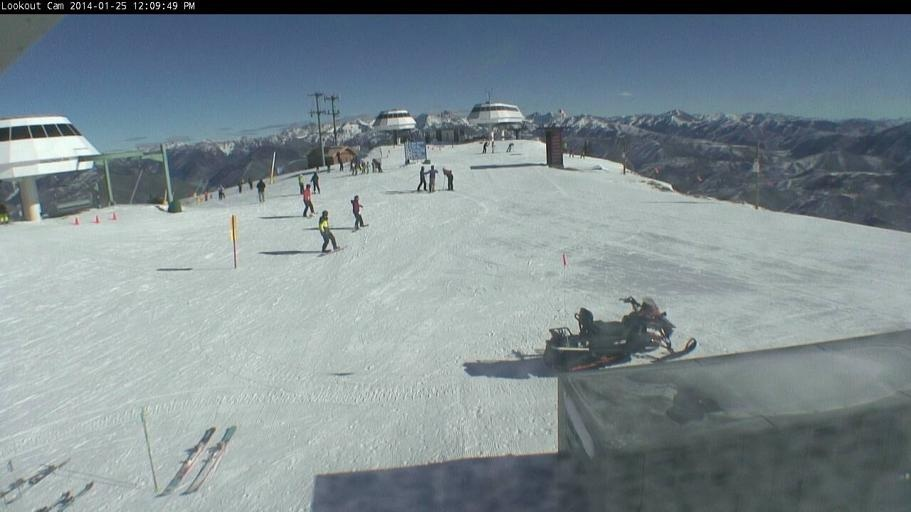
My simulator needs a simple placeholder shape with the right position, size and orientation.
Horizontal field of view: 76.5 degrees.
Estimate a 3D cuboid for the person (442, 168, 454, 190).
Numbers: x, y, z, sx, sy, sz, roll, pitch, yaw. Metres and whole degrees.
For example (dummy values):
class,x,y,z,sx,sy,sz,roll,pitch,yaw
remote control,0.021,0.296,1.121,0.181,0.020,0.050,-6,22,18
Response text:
class,x,y,z,sx,sy,sz,roll,pitch,yaw
person,-0.665,-6.470,48.342,1.328,0.853,3.348,25,-5,3
